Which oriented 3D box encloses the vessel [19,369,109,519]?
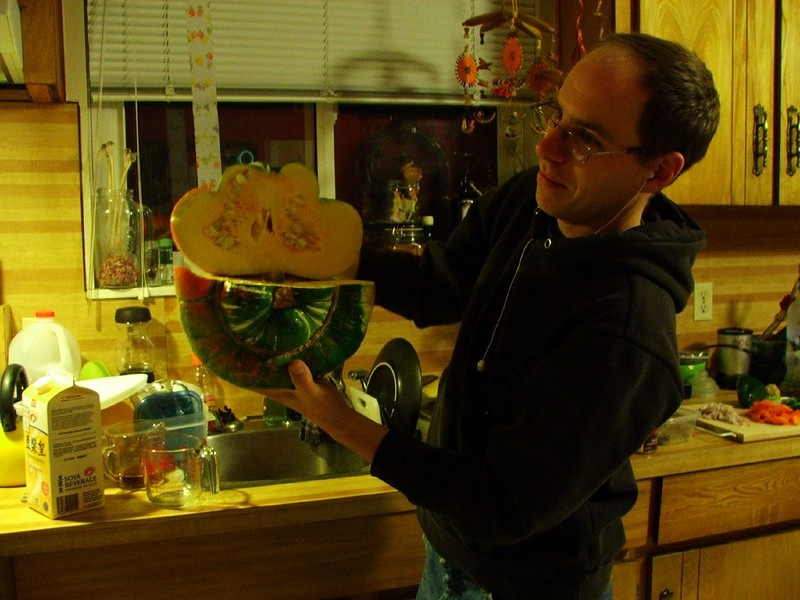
[{"bbox_3d":[-0.830,0.349,1.623,0.189,0.321,0.156,-5,10,-21],"label":"vessel"}]

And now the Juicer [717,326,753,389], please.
[{"bbox_3d":[1.320,0.232,2.619,0.133,0.233,0.139,-5,5,-25],"label":"Juicer"}]

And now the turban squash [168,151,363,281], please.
[{"bbox_3d":[-0.224,-0.160,1.261,0.097,0.249,0.420,-26,5,-36],"label":"turban squash"}]

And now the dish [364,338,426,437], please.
[{"bbox_3d":[-0.012,0.241,1.852,0.064,0.244,0.223,-1,29,-30],"label":"dish"}]

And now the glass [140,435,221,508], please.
[{"bbox_3d":[-0.562,0.448,1.717,0.198,0.151,0.154,-5,-6,18],"label":"glass"}]

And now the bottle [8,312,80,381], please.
[{"bbox_3d":[-1.038,0.138,1.924,0.167,0.246,0.135,4,9,1],"label":"bottle"}]

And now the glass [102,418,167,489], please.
[{"bbox_3d":[-0.734,0.434,1.784,0.131,0.155,0.206,-8,-7,10],"label":"glass"}]

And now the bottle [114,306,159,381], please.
[{"bbox_3d":[-0.820,0.141,2.065,0.113,0.253,0.161,-5,10,-22],"label":"bottle"}]

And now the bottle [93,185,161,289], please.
[{"bbox_3d":[-0.872,-0.202,2.135,0.127,0.314,0.228,3,10,22],"label":"bottle"}]
